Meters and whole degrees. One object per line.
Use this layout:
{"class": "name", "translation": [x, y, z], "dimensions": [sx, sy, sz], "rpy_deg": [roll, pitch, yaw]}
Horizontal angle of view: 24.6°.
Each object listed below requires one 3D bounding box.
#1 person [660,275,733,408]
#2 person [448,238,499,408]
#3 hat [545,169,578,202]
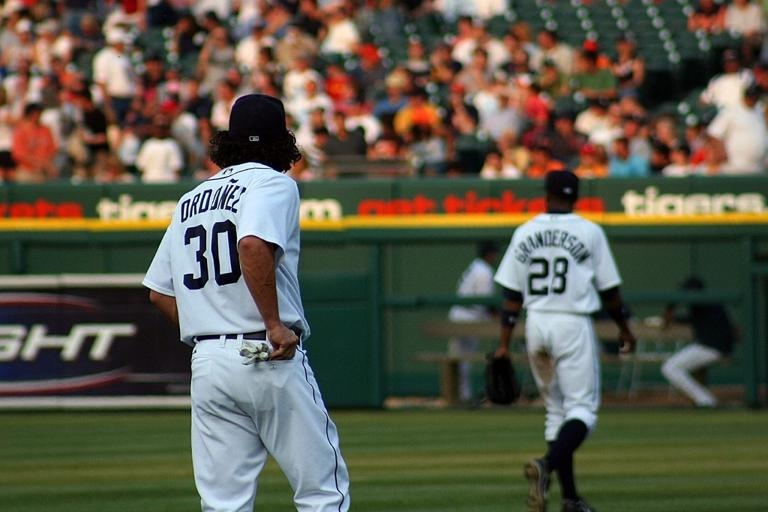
{"class": "person", "translation": [3.404, 0.937, 19.079], "dimensions": [0.770, 1.412, 0.935], "rpy_deg": [-1, -2, -29]}
{"class": "person", "translation": [0.924, 0.715, 18.968], "dimensions": [0.677, 1.971, 0.578], "rpy_deg": [-1, 17, 14]}
{"class": "hat", "translation": [1.733, -0.689, 17.175], "dimensions": [0.270, 0.302, 0.322], "rpy_deg": [3, 13, 2]}
